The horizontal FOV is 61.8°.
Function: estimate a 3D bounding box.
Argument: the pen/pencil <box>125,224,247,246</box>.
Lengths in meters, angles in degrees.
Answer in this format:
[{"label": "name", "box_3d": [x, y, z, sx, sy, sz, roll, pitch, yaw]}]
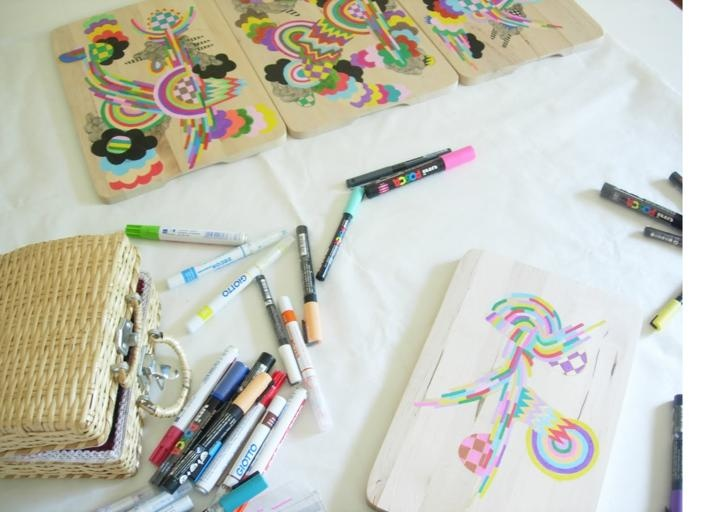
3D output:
[{"label": "pen/pencil", "box_3d": [-0.292, -0.034, 0.997, 0.172, 0.031, 0.027, 3, -4, 0]}]

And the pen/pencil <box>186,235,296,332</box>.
[{"label": "pen/pencil", "box_3d": [-0.187, 0.049, 0.961, 0.190, 0.022, 0.025, -44, 20, -12]}]

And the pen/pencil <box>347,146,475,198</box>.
[{"label": "pen/pencil", "box_3d": [0.094, -0.146, 1.065, 0.156, 0.031, 0.028, -24, 21, -10]}]

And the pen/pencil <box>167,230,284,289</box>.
[{"label": "pen/pencil", "box_3d": [-0.218, 0.008, 0.981, 0.163, 0.026, 0.025, -26, 4, -11]}]

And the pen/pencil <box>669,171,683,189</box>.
[{"label": "pen/pencil", "box_3d": [0.562, -0.135, 1.062, 0.026, 0.024, 0.008, -57, -1, -24]}]
